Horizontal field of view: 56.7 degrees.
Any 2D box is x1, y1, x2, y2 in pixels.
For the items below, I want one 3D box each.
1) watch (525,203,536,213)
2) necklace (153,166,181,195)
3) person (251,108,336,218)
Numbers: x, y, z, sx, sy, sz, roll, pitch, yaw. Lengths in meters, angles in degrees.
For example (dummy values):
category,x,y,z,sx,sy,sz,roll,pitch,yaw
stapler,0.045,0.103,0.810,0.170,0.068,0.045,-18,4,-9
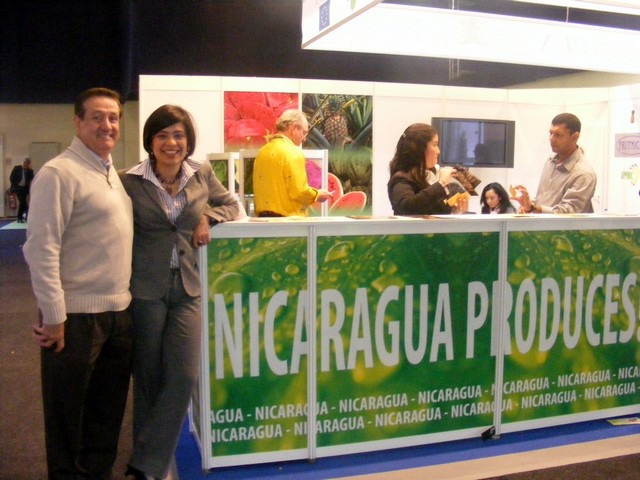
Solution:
category,x,y,z,sx,sy,sz,roll,pitch,yaw
watch,2.035,-0.311,5.713,0.095,0.066,0.103,9,34,-3
necklace,-0.819,-0.331,3.180,0.107,0.118,0.153,-1,3,-2
person,-0.248,-0.604,4.595,0.543,0.825,0.432,-2,6,-8
